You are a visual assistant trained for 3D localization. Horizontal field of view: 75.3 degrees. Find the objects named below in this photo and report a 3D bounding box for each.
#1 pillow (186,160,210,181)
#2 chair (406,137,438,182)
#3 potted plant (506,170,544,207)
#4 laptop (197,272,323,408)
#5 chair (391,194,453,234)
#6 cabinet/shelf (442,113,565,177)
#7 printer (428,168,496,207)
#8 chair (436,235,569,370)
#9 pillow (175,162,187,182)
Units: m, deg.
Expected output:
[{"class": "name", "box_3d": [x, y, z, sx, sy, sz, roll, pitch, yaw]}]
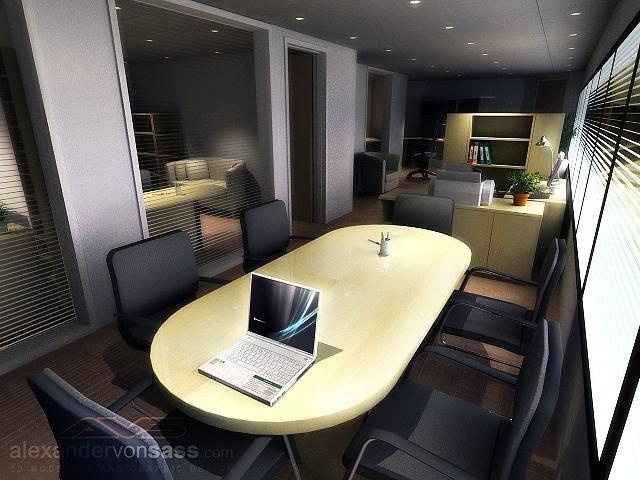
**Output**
[{"class": "pillow", "box_3d": [-1.380, -0.780, 4.657, 0.034, 0.226, 0.307, 14, 24, 34]}, {"class": "chair", "box_3d": [2.716, -2.177, 10.893, 0.798, 1.032, 0.833, 5, 9, -6]}, {"class": "potted plant", "box_3d": [2.228, -0.550, 4.559, 0.268, 0.299, 0.216, -18, 32, -30]}, {"class": "laptop", "box_3d": [-0.248, 0.531, 2.209, 0.650, 0.488, 0.580, 12, 24, 28]}, {"class": "chair", "box_3d": [1.051, -0.341, 4.241, 0.445, 0.560, 0.468, 8, 16, 22]}, {"class": "cabinet/shelf", "box_3d": [3.372, -1.720, 7.415, 1.620, 1.469, 0.465, 10, 22, 22]}, {"class": "printer", "box_3d": [1.724, -0.627, 4.813, 0.638, 0.382, 0.461, 8, 19, 29]}, {"class": "chair", "box_3d": [1.311, 0.498, 3.109, 0.881, 1.043, 0.772, 4, 19, 19]}, {"class": "pillow", "box_3d": [-1.505, -0.733, 4.475, 0.032, 0.207, 0.163, 9, 22, 23]}]
